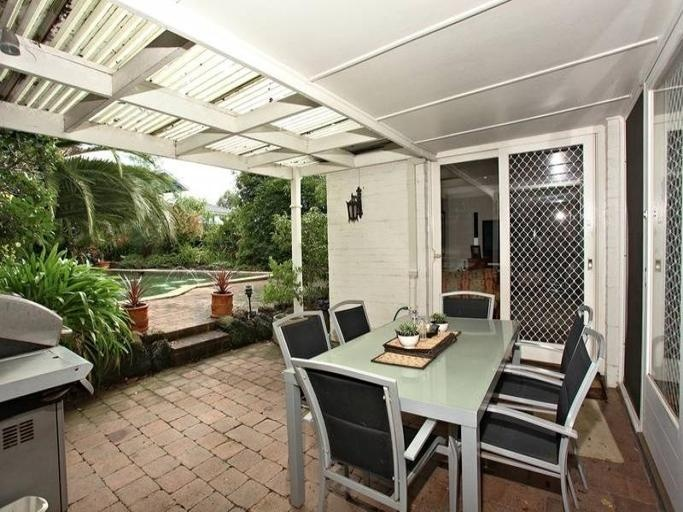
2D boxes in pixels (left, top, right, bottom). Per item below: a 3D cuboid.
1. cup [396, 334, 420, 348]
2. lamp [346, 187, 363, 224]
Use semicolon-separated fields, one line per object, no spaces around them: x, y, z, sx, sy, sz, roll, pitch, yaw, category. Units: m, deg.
0.477;0.612;3.136;0.103;0.067;0.104;-2;-1;0;cup
0.186;-0.724;5.988;0.110;0.509;0.298;-12;17;-39;lamp
